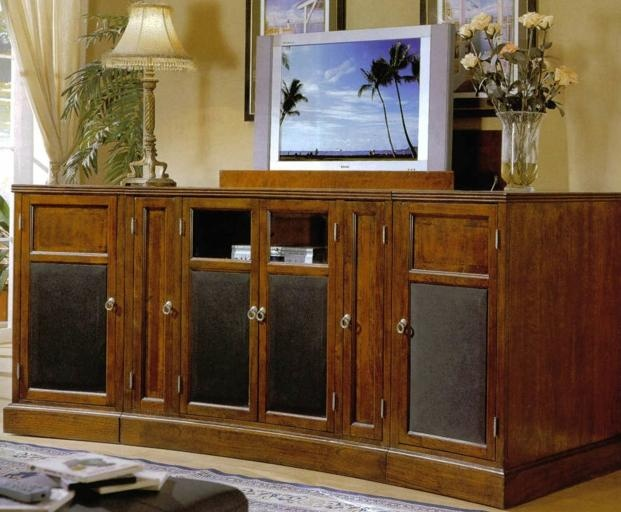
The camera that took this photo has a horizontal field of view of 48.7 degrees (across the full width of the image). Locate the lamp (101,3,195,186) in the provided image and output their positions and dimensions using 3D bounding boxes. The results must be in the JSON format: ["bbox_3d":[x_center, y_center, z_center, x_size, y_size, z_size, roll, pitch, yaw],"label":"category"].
[{"bbox_3d":[-0.814,-0.852,3.486,0.438,0.939,0.656,-5,11,-17],"label":"lamp"}]

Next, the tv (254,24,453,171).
[{"bbox_3d":[0.175,-0.719,3.164,0.950,0.627,0.133,3,11,23],"label":"tv"}]

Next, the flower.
[{"bbox_3d":[0.825,-0.769,3.064,0.546,0.626,0.466,-12,9,3],"label":"flower"}]

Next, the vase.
[{"bbox_3d":[0.882,-0.434,2.887,0.202,0.334,0.215,-3,9,-22],"label":"vase"}]

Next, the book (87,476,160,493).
[{"bbox_3d":[-0.475,0.609,1.820,0.074,0.019,0.076,-5,-4,39],"label":"book"}]
